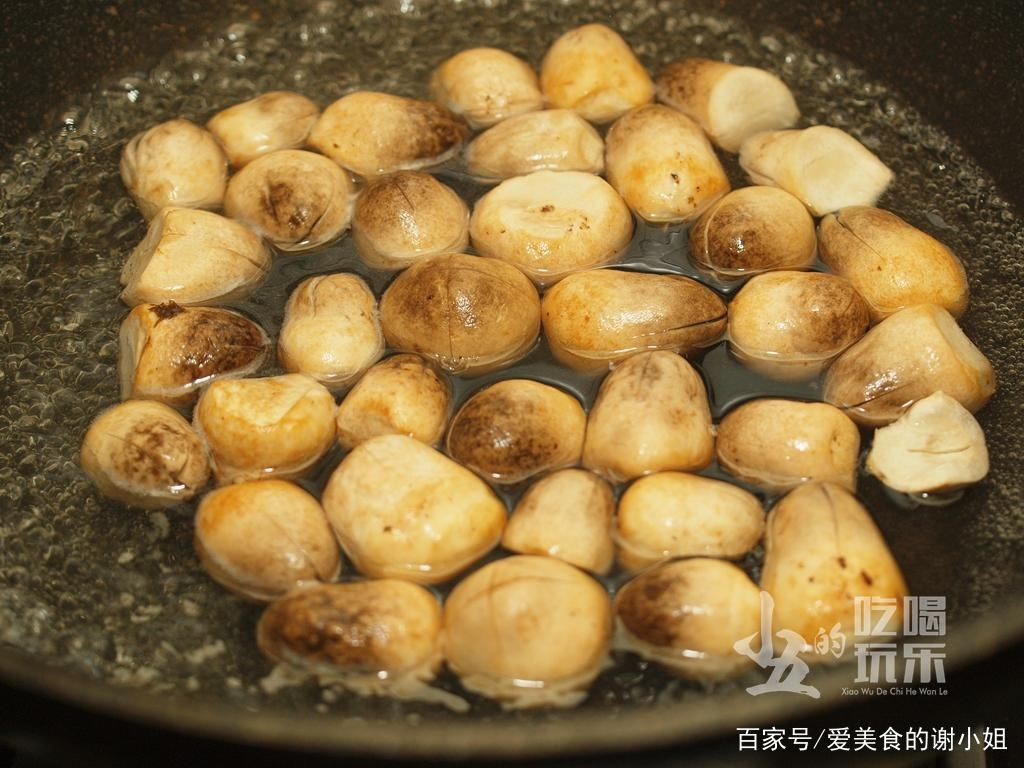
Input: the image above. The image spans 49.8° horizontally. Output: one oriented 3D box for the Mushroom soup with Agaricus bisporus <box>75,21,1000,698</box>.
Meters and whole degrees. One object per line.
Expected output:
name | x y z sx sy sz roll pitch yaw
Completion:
Mushroom soup with Agaricus bisporus | 0.039 -0.021 1.110 0.790 0.111 0.648 18 67 11
